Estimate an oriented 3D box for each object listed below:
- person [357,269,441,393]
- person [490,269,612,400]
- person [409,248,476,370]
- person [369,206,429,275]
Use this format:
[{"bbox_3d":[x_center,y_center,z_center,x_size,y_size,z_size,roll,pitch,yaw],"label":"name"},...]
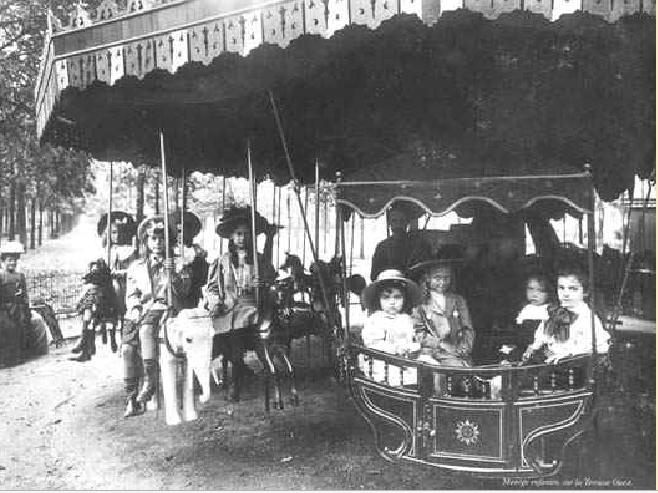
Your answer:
[{"bbox_3d":[0.542,0.649,9.738,0.578,1.018,0.538,7,22,2],"label":"person"},{"bbox_3d":[2.015,0.599,9.588,0.506,0.854,0.802,10,10,22],"label":"person"},{"bbox_3d":[0.902,0.569,9.711,0.690,1.285,0.749,-2,-2,11],"label":"person"},{"bbox_3d":[0.641,-0.066,9.810,0.507,0.770,0.287,-2,-3,11],"label":"person"}]
